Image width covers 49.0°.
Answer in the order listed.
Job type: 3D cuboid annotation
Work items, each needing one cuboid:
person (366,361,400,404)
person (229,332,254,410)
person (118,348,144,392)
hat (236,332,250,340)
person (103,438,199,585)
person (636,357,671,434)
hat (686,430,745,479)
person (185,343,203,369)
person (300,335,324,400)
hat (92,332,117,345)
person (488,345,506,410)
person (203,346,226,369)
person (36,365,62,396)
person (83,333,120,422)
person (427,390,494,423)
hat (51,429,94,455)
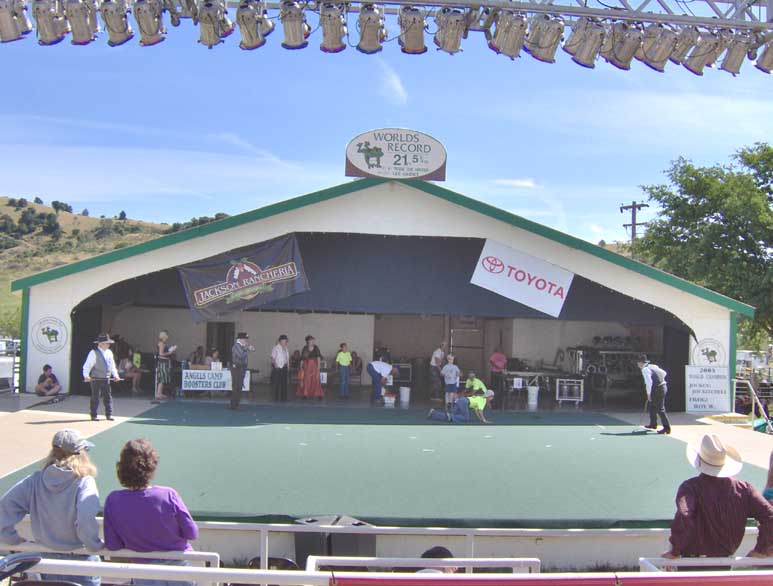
[{"bbox_3d":[-0.139,2.304,22.629,0.697,1.273,0.640,6,21,0],"label":"person"},{"bbox_3d":[-3.586,1.893,20.952,0.500,1.918,1.224,1,4,-9],"label":"person"},{"bbox_3d":[-6.961,2.126,23.188,0.567,1.113,0.953,1,4,-5],"label":"person"},{"bbox_3d":[-3.491,1.027,20.597,0.354,0.162,0.394,3,-4,-20],"label":"hat"},{"bbox_3d":[-2.909,2.469,10.326,1.119,1.356,0.262,1,4,-1],"label":"person"},{"bbox_3d":[6.183,2.293,19.482,0.750,1.759,1.443,3,4,18],"label":"person"},{"bbox_3d":[4.172,1.966,10.847,0.657,0.274,0.774,-12,25,-9],"label":"hat"},{"bbox_3d":[-5.468,1.782,24.100,0.411,0.730,0.380,3,-1,-29],"label":"person"},{"bbox_3d":[-2.000,2.025,22.862,0.589,1.765,0.969,1,4,-5],"label":"person"},{"bbox_3d":[-7.141,1.136,21.409,0.386,0.160,0.433,5,6,41],"label":"hat"},{"bbox_3d":[3.051,2.341,23.203,0.395,1.378,0.846,2,4,5],"label":"person"},{"bbox_3d":[-4.939,1.831,24.263,0.534,0.977,0.583,-1,-3,7],"label":"person"},{"bbox_3d":[-8.392,2.157,21.121,0.596,0.773,0.403,0,4,-29],"label":"person"},{"bbox_3d":[-6.288,1.842,18.792,0.683,1.936,1.241,0,4,-17],"label":"person"},{"bbox_3d":[1.819,2.803,20.509,1.335,0.610,0.766,-5,11,-5],"label":"person"},{"bbox_3d":[-3.837,1.799,10.442,0.410,0.215,0.283,-6,23,-41],"label":"hat"}]
